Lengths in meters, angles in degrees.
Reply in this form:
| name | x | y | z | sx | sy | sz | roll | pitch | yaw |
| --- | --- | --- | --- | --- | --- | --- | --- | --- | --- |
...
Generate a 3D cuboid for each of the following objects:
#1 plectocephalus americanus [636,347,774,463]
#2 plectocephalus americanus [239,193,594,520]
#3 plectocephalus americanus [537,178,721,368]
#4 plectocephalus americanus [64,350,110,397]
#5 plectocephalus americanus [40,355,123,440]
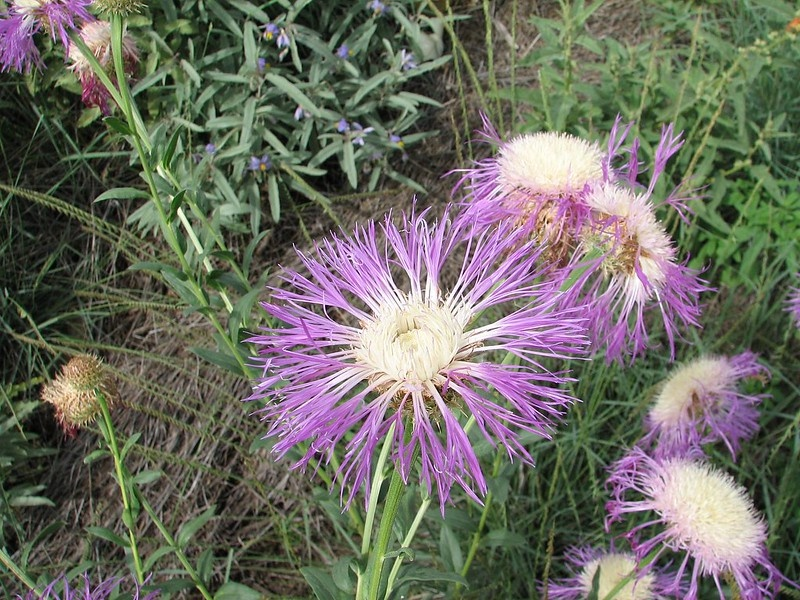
| name | x | y | z | sx | sy | sz | roll | pitch | yaw |
| --- | --- | --- | --- | --- | --- | --- | --- | --- | --- |
| plectocephalus americanus | 1.048 | 0.366 | 2.437 | 0.378 | 0.192 | 0.390 | -34 | 47 | -3 |
| plectocephalus americanus | 0.063 | 0.419 | 2.301 | 1.069 | 0.573 | 1.161 | -16 | 57 | -3 |
| plectocephalus americanus | 0.674 | -0.180 | 2.205 | 0.503 | 0.462 | 0.336 | -21 | 79 | -8 |
| plectocephalus americanus | -0.948 | 0.225 | 2.177 | 0.128 | 0.128 | 0.148 | -12 | 95 | -43 |
| plectocephalus americanus | -0.966 | 0.322 | 2.262 | 0.235 | 0.143 | 0.263 | -13 | 46 | 27 |
